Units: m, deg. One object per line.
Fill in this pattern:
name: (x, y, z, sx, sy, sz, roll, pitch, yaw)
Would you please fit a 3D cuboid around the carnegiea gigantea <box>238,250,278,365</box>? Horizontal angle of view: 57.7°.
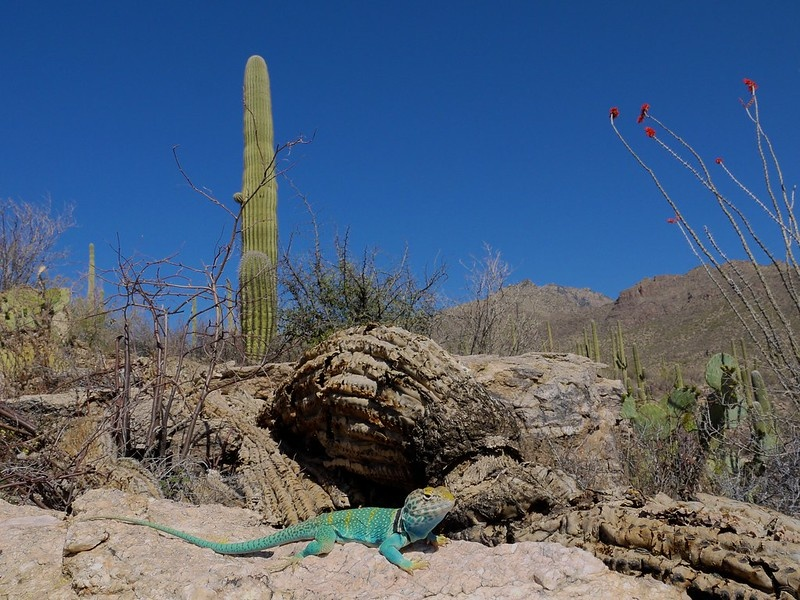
carnegiea gigantea: (-2.264, 0.131, 11.530, 0.619, 1.663, 2.128, 0, 9, -11)
